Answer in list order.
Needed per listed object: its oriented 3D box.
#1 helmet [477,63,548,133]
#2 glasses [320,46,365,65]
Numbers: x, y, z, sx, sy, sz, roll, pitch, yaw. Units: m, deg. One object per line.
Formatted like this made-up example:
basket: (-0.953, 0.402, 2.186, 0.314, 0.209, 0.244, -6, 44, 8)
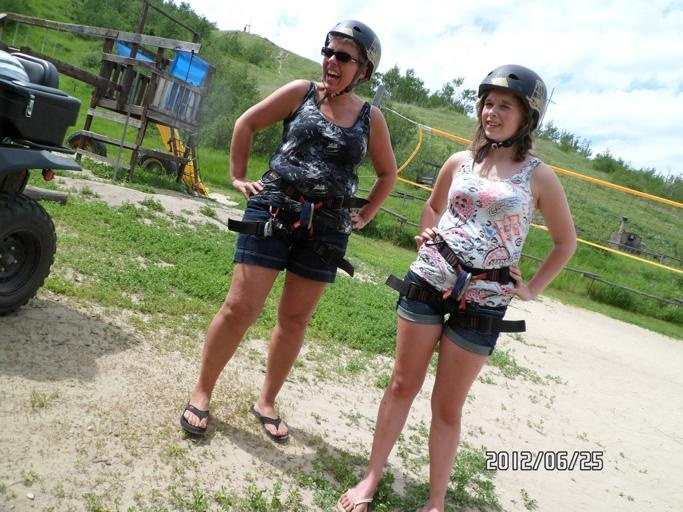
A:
helmet: (1.168, -1.109, 3.123, 0.450, 0.377, 0.345, 7, 19, -39)
glasses: (0.000, -1.372, 3.194, 0.299, 0.080, 0.107, 18, 12, 1)
